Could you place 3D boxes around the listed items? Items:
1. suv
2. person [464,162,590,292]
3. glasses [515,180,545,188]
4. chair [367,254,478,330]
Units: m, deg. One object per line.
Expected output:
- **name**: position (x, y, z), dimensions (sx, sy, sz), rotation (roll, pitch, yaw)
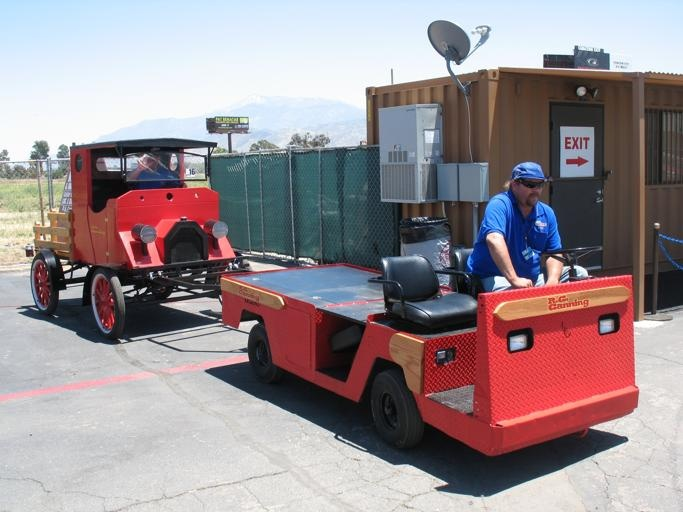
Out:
- **suv**: position (-3.965, -0.450, 10.234), dimensions (2.832, 3.305, 4.487), rotation (-6, 10, -44)
- **person**: position (1.622, -0.364, 5.323), dimensions (1.071, 1.406, 1.150), rotation (-6, 11, -29)
- **glasses**: position (1.717, -0.660, 4.966), dimensions (0.250, 0.080, 0.113), rotation (0, 9, 9)
- **chair**: position (0.772, 0.377, 5.143), dimensions (0.669, 0.539, 0.800), rotation (-5, 7, -36)
